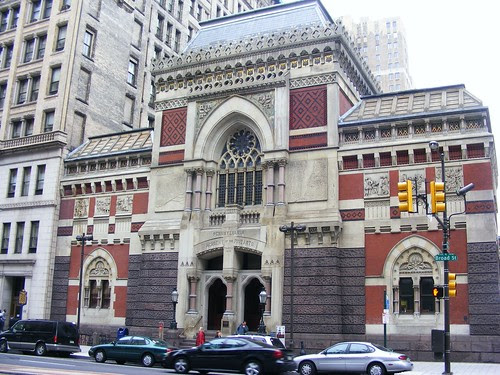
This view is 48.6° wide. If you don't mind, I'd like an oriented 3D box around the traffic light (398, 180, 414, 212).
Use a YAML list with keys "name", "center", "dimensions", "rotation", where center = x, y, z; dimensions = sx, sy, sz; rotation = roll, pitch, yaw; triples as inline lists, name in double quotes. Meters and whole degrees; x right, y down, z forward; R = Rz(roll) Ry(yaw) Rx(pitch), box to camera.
- name: "traffic light"
  center: [7.193, 0.393, 25.519]
  dimensions: [0.671, 1.392, 0.533]
  rotation: [-2, -6, 12]

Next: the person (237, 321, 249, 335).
- name: "person"
  center: [-0.465, 8.645, 34.255]
  dimensions: [0.561, 0.734, 1.066]
  rotation: [0, -16, -6]
